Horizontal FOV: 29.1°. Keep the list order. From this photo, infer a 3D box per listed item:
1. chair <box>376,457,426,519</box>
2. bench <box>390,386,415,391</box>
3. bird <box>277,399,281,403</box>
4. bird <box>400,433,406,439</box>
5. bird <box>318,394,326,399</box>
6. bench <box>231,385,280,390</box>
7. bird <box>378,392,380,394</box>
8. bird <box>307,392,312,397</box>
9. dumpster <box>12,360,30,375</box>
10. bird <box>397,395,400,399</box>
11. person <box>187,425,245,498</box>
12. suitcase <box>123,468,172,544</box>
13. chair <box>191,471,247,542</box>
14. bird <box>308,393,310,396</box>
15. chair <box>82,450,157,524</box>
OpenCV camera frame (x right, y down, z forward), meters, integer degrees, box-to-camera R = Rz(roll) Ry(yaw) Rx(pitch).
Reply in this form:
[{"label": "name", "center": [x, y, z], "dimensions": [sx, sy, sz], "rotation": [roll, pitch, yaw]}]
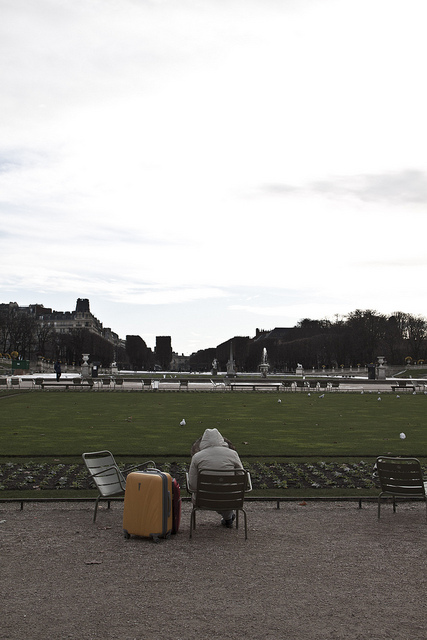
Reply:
[{"label": "chair", "center": [2.673, 2.321, 11.677], "dimensions": [0.644, 0.770, 1.171], "rotation": [-1, -14, 17]}, {"label": "bench", "center": [12.707, 4.625, 55.895], "dimensions": [1.176, 0.317, 2.822], "rotation": [-1, -5, 32]}, {"label": "bird", "center": [3.278, 3.998, 40.668], "dimensions": [0.092, 0.184, 0.110], "rotation": [1, -12, -4]}, {"label": "bird", "center": [4.795, 2.941, 20.863], "dimensions": [0.125, 0.080, 0.165], "rotation": [-4, -2, 19]}, {"label": "bird", "center": [6.124, 4.295, 46.393], "dimensions": [0.430, 0.235, 0.193], "rotation": [2, 6, 19]}, {"label": "bench", "center": [3.085, 4.777, 58.949], "dimensions": [2.676, 0.338, 8.972], "rotation": [1, -4, 9]}, {"label": "bird", "center": [10.409, 4.555, 51.603], "dimensions": [0.144, 0.099, 0.145], "rotation": [1, 11, 3]}, {"label": "bird", "center": [5.869, 4.502, 50.003], "dimensions": [0.207, 0.231, 0.567], "rotation": [-1, 7, 2]}, {"label": "dumpster", "center": [-23.014, 5.303, 98.371], "dimensions": [2.443, 1.762, 1.253], "rotation": [2, -3, -41]}, {"label": "bird", "center": [10.172, 4.206, 45.166], "dimensions": [0.155, 0.151, 0.079], "rotation": [0, -15, 0]}, {"label": "person", "center": [0.011, 1.709, 10.423], "dimensions": [0.885, 0.768, 1.248], "rotation": [0, 25, -3]}, {"label": "suitcase", "center": [-0.800, 2.224, 9.896], "dimensions": [0.595, 0.793, 0.451], "rotation": [1, -4, 6]}, {"label": "chair", "center": [0.076, 2.269, 10.404], "dimensions": [0.676, 0.787, 1.075], "rotation": [1, -4, -1]}, {"label": "bird", "center": [5.770, 4.476, 49.518], "dimensions": [0.160, 0.244, 0.244], "rotation": [1, 8, 14]}, {"label": "chair", "center": [-1.249, 2.256, 11.285], "dimensions": [0.952, 0.890, 0.785], "rotation": [-1, -2, 26]}]
